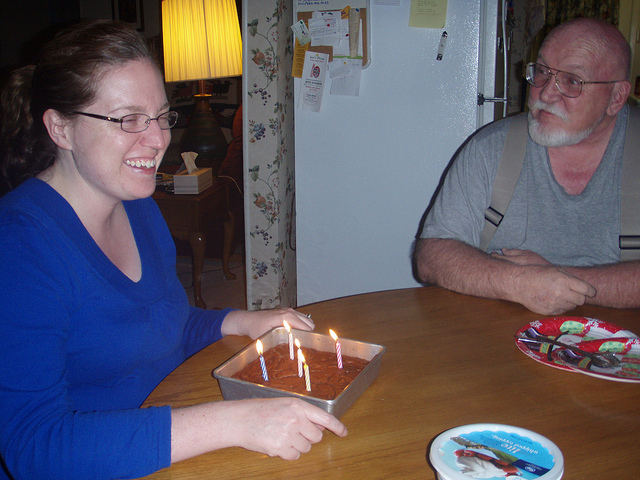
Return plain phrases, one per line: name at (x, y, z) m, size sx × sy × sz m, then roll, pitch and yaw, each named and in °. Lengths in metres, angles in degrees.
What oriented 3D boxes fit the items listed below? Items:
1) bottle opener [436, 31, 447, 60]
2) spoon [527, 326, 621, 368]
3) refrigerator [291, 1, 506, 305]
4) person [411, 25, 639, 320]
bottle opener at (0.683, -1.089, 3.067) m, size 0.035 × 0.149 × 0.036 m, roll 10°, pitch 15°, yaw 6°
spoon at (0.726, 0.306, 1.577) m, size 0.221 × 0.033 × 0.081 m, roll 16°, pitch 34°, yaw 23°
refrigerator at (0.414, -0.876, 4.692) m, size 1.616 × 3.124 × 1.554 m, roll 0°, pitch 14°, yaw 6°
person at (0.897, -0.312, 2.048) m, size 0.998 × 0.935 × 0.783 m, roll -9°, pitch 21°, yaw -23°
